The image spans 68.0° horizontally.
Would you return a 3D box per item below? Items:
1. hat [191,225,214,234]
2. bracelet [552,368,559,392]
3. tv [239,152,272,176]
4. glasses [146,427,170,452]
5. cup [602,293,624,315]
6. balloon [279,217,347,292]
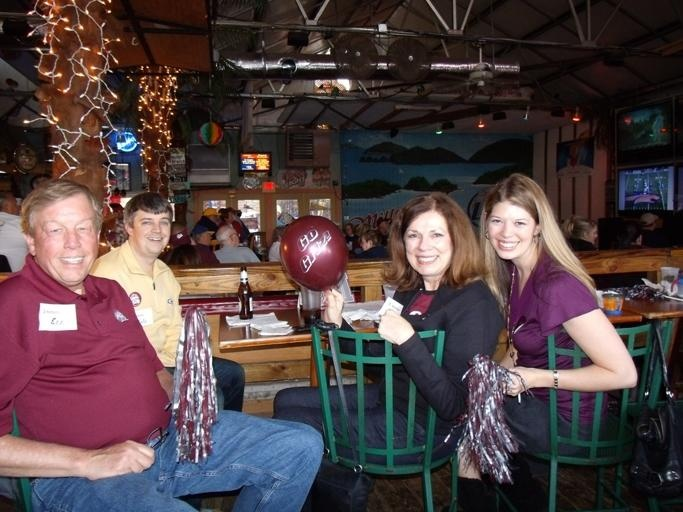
[{"bbox_3d":[-2.150,-0.431,7.692,0.268,0.122,0.425,7,8,43],"label":"hat"},{"bbox_3d":[0.895,0.513,2.115,0.036,0.064,0.062,2,45,11],"label":"bracelet"},{"bbox_3d":[-2.122,-2.262,12.264,0.609,0.415,0.083,-1,-3,-12],"label":"tv"},{"bbox_3d":[-0.750,0.743,2.072,0.020,0.066,0.065,38,24,-15],"label":"glasses"},{"bbox_3d":[1.689,0.307,3.197,0.143,0.154,0.143,0,-10,0],"label":"cup"},{"bbox_3d":[-0.160,-0.063,2.694,0.285,0.318,0.277,-5,-15,35],"label":"balloon"}]
